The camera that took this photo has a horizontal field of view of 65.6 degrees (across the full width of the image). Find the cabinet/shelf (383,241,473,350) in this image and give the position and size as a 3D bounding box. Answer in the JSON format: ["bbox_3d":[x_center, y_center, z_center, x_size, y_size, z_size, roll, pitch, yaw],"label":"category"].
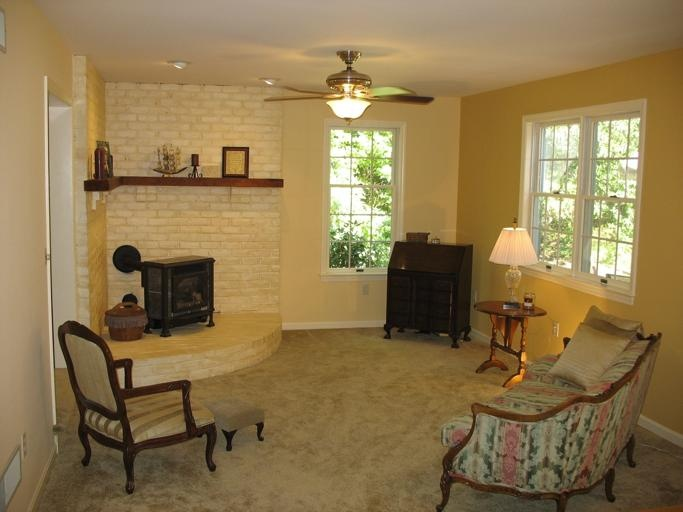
[{"bbox_3d":[1.184,0.534,7.204,1.507,1.608,0.929,2,3,26],"label":"cabinet/shelf"}]

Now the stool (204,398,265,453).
[{"bbox_3d":[-0.888,1.385,4.543,0.361,0.229,0.500,2,-2,-30],"label":"stool"}]

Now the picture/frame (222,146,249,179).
[{"bbox_3d":[-1.417,-1.257,7.134,0.498,0.524,0.056,0,0,-8],"label":"picture/frame"}]

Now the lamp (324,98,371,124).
[{"bbox_3d":[0.066,-1.318,4.838,0.336,0.138,0.318,1,7,0],"label":"lamp"}]

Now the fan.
[{"bbox_3d":[0.164,-1.699,5.197,1.071,0.473,1.894,0,10,-6],"label":"fan"}]

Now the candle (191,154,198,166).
[{"bbox_3d":[-1.937,-1.272,7.054,0.099,0.167,0.174,-2,12,-15],"label":"candle"}]

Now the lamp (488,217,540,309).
[{"bbox_3d":[1.994,0.088,6.175,0.479,0.980,0.823,5,12,18],"label":"lamp"}]

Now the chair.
[{"bbox_3d":[-1.506,1.063,3.965,1.085,1.216,0.572,-1,12,-11],"label":"chair"}]

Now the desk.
[{"bbox_3d":[1.899,0.999,6.084,0.700,0.801,0.912,-1,4,-17],"label":"desk"}]
